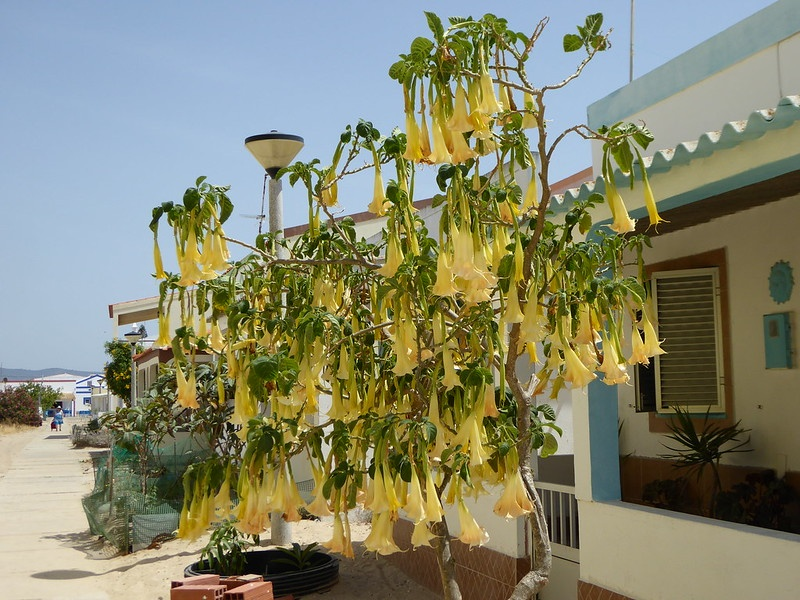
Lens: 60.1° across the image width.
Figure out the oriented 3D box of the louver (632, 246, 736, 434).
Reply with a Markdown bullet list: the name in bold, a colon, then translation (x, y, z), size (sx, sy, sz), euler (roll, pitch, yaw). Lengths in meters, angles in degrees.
- **louver**: translation (3.063, 0.442, 7.425), size (0.447, 2.124, 0.899), euler (-2, -2, -23)
